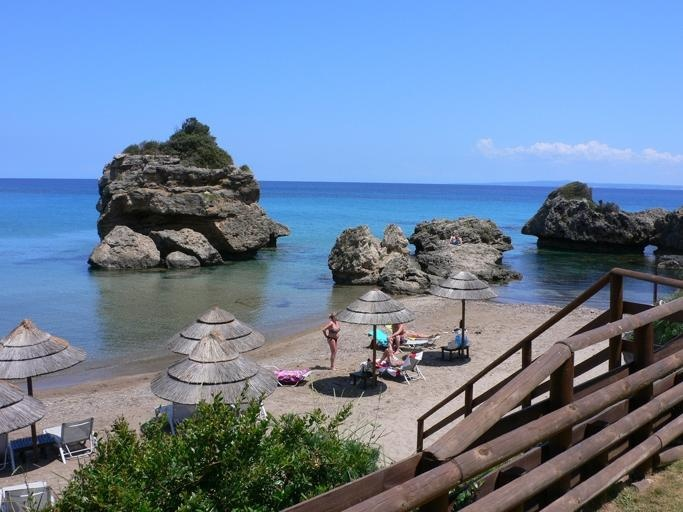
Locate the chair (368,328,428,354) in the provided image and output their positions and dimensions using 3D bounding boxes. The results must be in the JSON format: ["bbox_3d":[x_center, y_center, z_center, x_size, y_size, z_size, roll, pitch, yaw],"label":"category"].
[{"bbox_3d":[1.548,2.647,17.182,1.932,0.436,0.942,2,4,20],"label":"chair"}]

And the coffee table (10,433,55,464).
[{"bbox_3d":[-6.063,3.748,10.507,0.752,0.333,0.970,-5,9,-29],"label":"coffee table"}]

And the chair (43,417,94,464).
[{"bbox_3d":[-5.404,3.601,10.688,0.756,0.599,1.201,-5,-4,-39],"label":"chair"}]

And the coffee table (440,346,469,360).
[{"bbox_3d":[3.405,2.968,16.259,0.862,0.297,0.436,0,-1,-31],"label":"coffee table"}]

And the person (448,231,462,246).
[{"bbox_3d":[7.628,-1.153,35.757,1.123,0.920,1.007,-1,-10,-8],"label":"person"}]

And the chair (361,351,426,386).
[{"bbox_3d":[1.255,3.068,14.748,1.853,0.562,1.132,-3,-17,16],"label":"chair"}]

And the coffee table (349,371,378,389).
[{"bbox_3d":[0.518,3.221,13.792,0.578,0.192,0.502,-2,6,-18],"label":"coffee table"}]
